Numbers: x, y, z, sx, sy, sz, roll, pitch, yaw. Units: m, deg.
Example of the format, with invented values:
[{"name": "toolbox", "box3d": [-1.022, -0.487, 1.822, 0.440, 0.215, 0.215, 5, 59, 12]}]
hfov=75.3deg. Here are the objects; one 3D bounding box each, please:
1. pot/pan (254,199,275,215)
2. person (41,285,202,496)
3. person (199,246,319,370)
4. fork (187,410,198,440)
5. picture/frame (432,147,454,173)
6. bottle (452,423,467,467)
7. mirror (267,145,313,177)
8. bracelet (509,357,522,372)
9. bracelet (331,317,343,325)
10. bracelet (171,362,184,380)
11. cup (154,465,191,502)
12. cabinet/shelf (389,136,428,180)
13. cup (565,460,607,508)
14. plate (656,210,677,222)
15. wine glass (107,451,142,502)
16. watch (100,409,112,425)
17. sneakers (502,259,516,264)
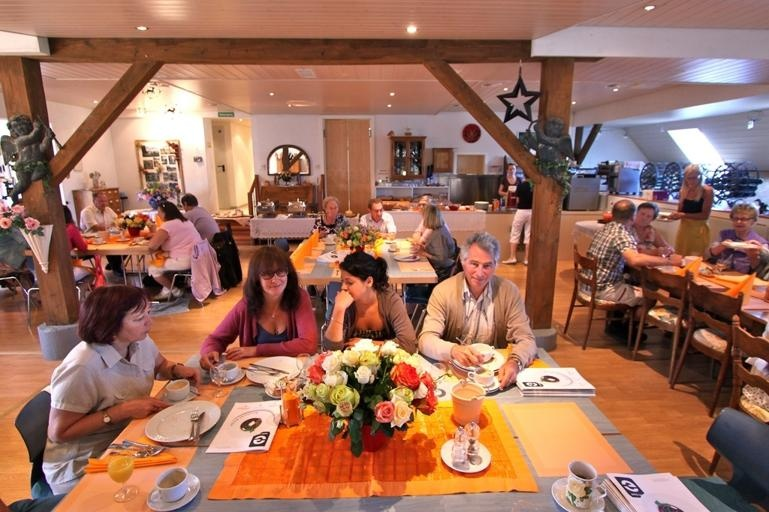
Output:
[{"name": "pot/pan", "box3d": [-2.478, -1.033, 10.577, 0.309, 0.170, 0.520, 2, 13, -1]}, {"name": "person", "box3d": [-2.063, 1.039, 3.809, 1.018, 1.780, 0.817, -1, 26, -7]}, {"name": "person", "box3d": [-1.086, 0.456, 4.267, 0.953, 0.912, 0.574, -2, -2, -15]}, {"name": "fork", "box3d": [-1.323, 1.177, 3.455, 0.042, 0.027, 0.225, -3, 40, -6]}, {"name": "picture/frame", "box3d": [1.346, -2.241, 11.616, 0.563, 0.563, 0.264, -1, 8, -5]}, {"name": "bottle", "box3d": [0.500, 1.252, 3.294, 0.114, 0.231, 0.080, -3, 11, -9]}, {"name": "mirror", "box3d": [-2.238, -2.293, 11.816, 0.870, 0.622, 0.057, 1, 21, 1]}, {"name": "bracelet", "box3d": [1.017, 0.822, 3.829, 0.092, 0.087, 0.093, -8, 24, -44]}, {"name": "bracelet", "box3d": [-0.367, 0.508, 4.000, 0.112, 0.055, 0.058, -9, 13, -41]}, {"name": "bracelet", "box3d": [-1.621, 0.893, 3.931, 0.090, 0.116, 0.118, -8, 9, -5]}, {"name": "cup", "box3d": [-1.350, 1.450, 3.186, 0.209, 0.157, 0.155, -1, 26, -8]}, {"name": "cabinet/shelf", "box3d": [0.543, -2.278, 11.550, 0.990, 1.151, 0.475, -1, 20, -1]}, {"name": "cup", "box3d": [1.230, 1.444, 3.213, 0.306, 0.279, 0.192, 0, 3, 9]}, {"name": "plate", "box3d": [4.022, -0.573, 7.121, 0.280, 0.123, 0.289, -5, 15, -27]}, {"name": "wine glass", "box3d": [-1.706, 1.415, 3.260, 0.155, 0.263, 0.275, -7, 11, -29]}, {"name": "watch", "box3d": [-1.989, 1.148, 3.572, 0.089, 0.099, 0.033, 4, 11, 26]}, {"name": "sneakers", "box3d": [2.279, 0.101, 9.158, 0.213, 0.100, 0.083, 6, 10, 43]}]
